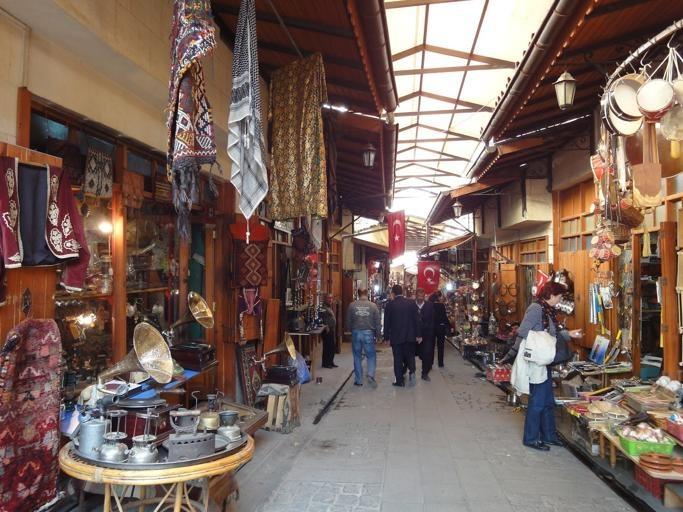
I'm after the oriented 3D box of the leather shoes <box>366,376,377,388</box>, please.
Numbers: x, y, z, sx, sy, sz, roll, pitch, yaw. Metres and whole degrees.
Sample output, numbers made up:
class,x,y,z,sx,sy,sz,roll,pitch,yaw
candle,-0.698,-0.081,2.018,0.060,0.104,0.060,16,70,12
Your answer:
class,x,y,z,sx,sy,sz,roll,pitch,yaw
leather shoes,0.563,2.210,9.554,0.180,0.215,0.362,0,4,2

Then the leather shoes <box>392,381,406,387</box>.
class,x,y,z,sx,sy,sz,roll,pitch,yaw
leather shoes,1.036,2.255,9.544,0.242,0.105,0.228,0,4,4

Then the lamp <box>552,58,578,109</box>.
class,x,y,z,sx,sy,sz,roll,pitch,yaw
lamp,2.762,-2.108,6.559,0.262,0.496,0.278,-1,3,4

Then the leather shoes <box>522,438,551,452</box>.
class,x,y,z,sx,sy,sz,roll,pitch,yaw
leather shoes,2.403,2.289,6.495,0.271,0.119,0.110,-4,-2,17

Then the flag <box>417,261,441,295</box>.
class,x,y,z,sx,sy,sz,roll,pitch,yaw
flag,2.650,0.606,16.197,0.881,1.399,0.109,1,-2,13

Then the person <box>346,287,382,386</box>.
class,x,y,z,sx,sy,sz,roll,pitch,yaw
person,0.422,1.479,9.867,0.576,1.796,0.982,0,3,3

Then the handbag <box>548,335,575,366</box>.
class,x,y,z,sx,sy,sz,roll,pitch,yaw
handbag,2.773,1.158,6.665,0.200,0.380,0.577,2,4,34

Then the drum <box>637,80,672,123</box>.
class,x,y,z,sx,sy,sz,roll,pitch,yaw
drum,2.695,-1.352,4.576,0.277,0.341,0.162,1,4,25

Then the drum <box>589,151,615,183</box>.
class,x,y,z,sx,sy,sz,roll,pitch,yaw
drum,3.010,-1.031,6.125,0.099,0.324,0.217,2,4,-29

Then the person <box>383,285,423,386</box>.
class,x,y,z,sx,sy,sz,roll,pitch,yaw
person,1.121,1.438,9.775,0.683,1.836,0.811,0,4,8

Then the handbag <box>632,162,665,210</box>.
class,x,y,z,sx,sy,sz,roll,pitch,yaw
handbag,2.728,-0.619,4.769,0.292,0.420,0.316,-1,-3,30

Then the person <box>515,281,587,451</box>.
class,x,y,z,sx,sy,sz,roll,pitch,yaw
person,2.548,1.315,6.715,0.748,1.988,0.541,-4,5,-43

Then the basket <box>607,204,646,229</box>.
class,x,y,z,sx,sy,sz,roll,pitch,yaw
basket,3.368,-0.475,6.297,0.280,0.113,0.340,7,1,9

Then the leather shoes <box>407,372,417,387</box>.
class,x,y,z,sx,sy,sz,roll,pitch,yaw
leather shoes,1.280,2.196,9.564,0.145,0.232,0.356,0,4,11

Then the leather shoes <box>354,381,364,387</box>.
class,x,y,z,sx,sy,sz,roll,pitch,yaw
leather shoes,0.305,2.264,9.600,0.180,0.087,0.221,0,4,13

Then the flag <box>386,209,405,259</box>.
class,x,y,z,sx,sy,sz,roll,pitch,yaw
flag,1.344,-0.572,12.896,0.444,1.284,0.032,-1,-28,4
